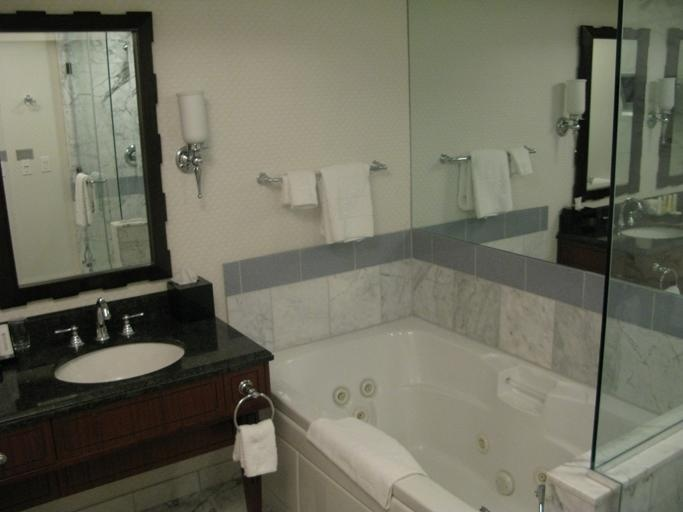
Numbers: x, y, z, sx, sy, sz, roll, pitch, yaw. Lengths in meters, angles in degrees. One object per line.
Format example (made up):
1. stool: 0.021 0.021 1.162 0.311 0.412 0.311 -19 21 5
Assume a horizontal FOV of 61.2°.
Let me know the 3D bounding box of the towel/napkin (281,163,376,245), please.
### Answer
1. towel/napkin: -0.083 -0.282 3.061 0.353 0.297 0.133 -13 22 -29

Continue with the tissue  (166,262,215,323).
1. tissue : -0.705 0.146 2.831 0.237 0.343 0.239 -9 14 -33

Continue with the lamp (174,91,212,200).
1. lamp: -0.693 -0.511 2.736 0.194 0.495 0.149 -11 15 -22

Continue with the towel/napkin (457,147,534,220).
1. towel/napkin: 0.804 -0.376 2.941 0.109 0.418 0.375 -4 0 -40

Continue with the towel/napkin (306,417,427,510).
1. towel/napkin: 0.144 0.745 2.309 0.245 0.107 0.420 -9 16 -39

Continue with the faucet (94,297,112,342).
1. faucet: -1.089 0.276 2.617 0.080 0.194 0.169 -11 15 -22

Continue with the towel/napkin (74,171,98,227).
1. towel/napkin: -1.149 -0.263 2.577 0.072 0.280 0.165 -8 19 -32
